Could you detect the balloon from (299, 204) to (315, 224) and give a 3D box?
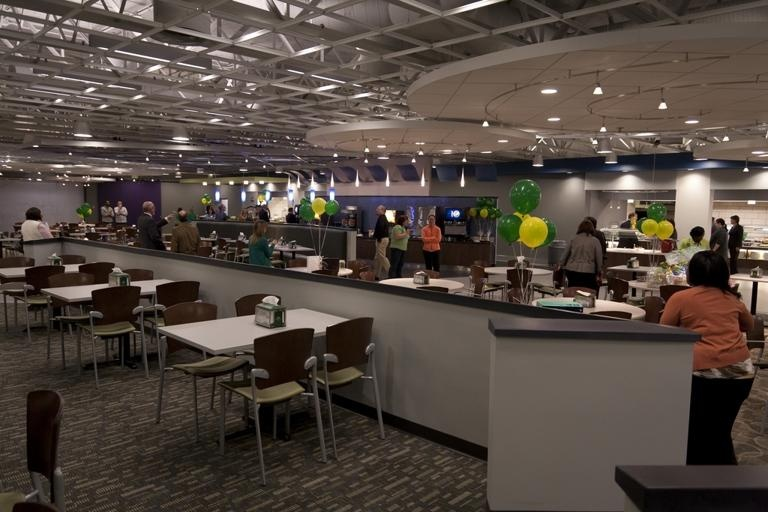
[{"bbox_3d":[-1.641,-0.840,10.746,0.402,0.405,0.376,0,7,4],"label":"balloon"}]

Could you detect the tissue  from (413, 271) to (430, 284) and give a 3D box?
[{"bbox_3d":[0.569,0.271,8.072,0.174,0.192,0.291,-3,7,-31],"label":"tissue "}]

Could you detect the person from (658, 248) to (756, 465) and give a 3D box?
[{"bbox_3d":[2.745,0.873,4.538,0.582,1.771,0.582,-7,17,-24],"label":"person"}]

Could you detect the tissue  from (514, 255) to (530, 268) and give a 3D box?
[{"bbox_3d":[2.647,0.112,10.289,0.224,0.298,0.322,10,17,36],"label":"tissue "}]

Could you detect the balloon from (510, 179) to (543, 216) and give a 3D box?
[{"bbox_3d":[1.812,-0.737,6.795,0.416,0.433,0.411,12,-11,-33],"label":"balloon"}]

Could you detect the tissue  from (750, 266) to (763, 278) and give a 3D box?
[{"bbox_3d":[7.809,0.328,11.209,0.200,0.177,0.197,3,6,28],"label":"tissue "}]

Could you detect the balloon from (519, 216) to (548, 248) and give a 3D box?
[{"bbox_3d":[1.854,-0.269,6.627,0.402,0.430,0.390,-3,-14,26],"label":"balloon"}]

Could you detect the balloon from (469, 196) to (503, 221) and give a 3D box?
[{"bbox_3d":[3.246,-1.480,17.100,1.339,0.939,1.295,1,5,8],"label":"balloon"}]

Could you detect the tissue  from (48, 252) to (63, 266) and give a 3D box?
[{"bbox_3d":[-5.404,0.055,8.774,0.250,0.222,0.242,0,2,-9],"label":"tissue "}]

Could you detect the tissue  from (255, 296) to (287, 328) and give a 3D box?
[{"bbox_3d":[-1.166,0.586,5.639,0.309,0.248,0.303,5,3,-32],"label":"tissue "}]

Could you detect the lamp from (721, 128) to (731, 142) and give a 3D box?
[{"bbox_3d":[9.134,-3.236,14.280,0.199,0.304,3.012,10,16,31],"label":"lamp"}]

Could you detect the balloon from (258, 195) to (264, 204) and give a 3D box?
[{"bbox_3d":[-7.026,-3.245,30.730,0.422,0.523,0.184,0,1,12],"label":"balloon"}]

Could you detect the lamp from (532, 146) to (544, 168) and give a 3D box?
[{"bbox_3d":[5.176,-3.369,17.991,0.293,0.687,1.550,4,15,14],"label":"lamp"}]

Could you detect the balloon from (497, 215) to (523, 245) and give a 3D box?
[{"bbox_3d":[1.643,-0.340,7.077,0.409,0.434,0.386,0,-1,8],"label":"balloon"}]

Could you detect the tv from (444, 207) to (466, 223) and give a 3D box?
[{"bbox_3d":[2.616,-1.514,19.820,1.009,0.607,0.520,3,11,13],"label":"tv"}]
